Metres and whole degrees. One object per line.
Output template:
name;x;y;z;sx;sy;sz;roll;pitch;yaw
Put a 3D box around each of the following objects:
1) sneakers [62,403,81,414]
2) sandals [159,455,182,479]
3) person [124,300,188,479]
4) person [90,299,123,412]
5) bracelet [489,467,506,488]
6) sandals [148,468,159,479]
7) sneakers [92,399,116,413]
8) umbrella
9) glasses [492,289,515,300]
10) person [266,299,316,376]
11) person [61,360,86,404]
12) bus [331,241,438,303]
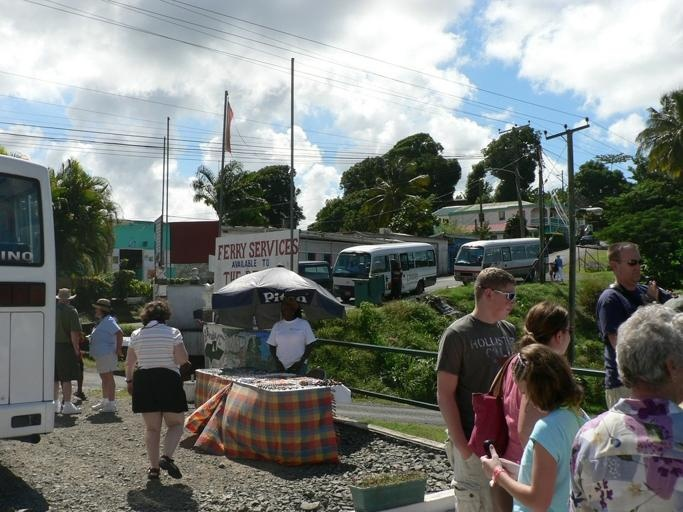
sneakers;-4.121;2.277;10.694;0.277;0.186;0.208;0;-1;-21
sandals;-1.787;2.171;7.322;0.215;0.228;0.102;0;-1;-16
person;-1.969;1.411;7.675;0.891;1.854;0.539;-2;-2;42
person;-3.702;1.541;11.035;0.474;1.735;0.907;0;-1;-20
bracelet;0.998;1.399;4.535;0.051;0.131;0.134;18;-27;4
sandals;-1.986;2.268;7.399;0.138;0.121;0.106;-1;-1;1
sneakers;-3.692;2.288;10.912;0.421;0.192;0.162;3;-2;14
umbrella;-0.991;0.607;10.766;1.269;0.605;1.380;-2;-2;2
glasses;1.289;0.293;5.450;0.102;0.035;0.100;20;10;38
person;-0.682;1.062;9.560;0.609;1.030;0.281;-1;-1;-2
person;-4.335;2.012;11.315;0.332;0.355;0.960;-7;-23;-22
bus;2.044;0.639;32.849;2.992;2.756;7.846;-2;-2;33
